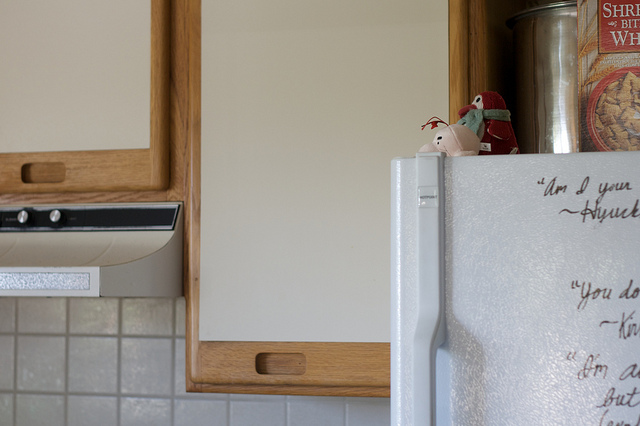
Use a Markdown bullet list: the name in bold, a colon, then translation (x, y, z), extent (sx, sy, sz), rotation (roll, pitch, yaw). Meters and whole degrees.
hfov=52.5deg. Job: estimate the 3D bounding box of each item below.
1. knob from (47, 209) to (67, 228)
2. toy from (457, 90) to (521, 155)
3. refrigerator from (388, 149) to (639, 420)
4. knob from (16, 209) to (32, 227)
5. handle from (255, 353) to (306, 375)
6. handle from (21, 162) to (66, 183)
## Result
- **knob**: translation (-0.661, 0.017, 1.644), extent (0.038, 0.049, 0.029), rotation (18, 5, 12)
- **toy**: translation (0.348, -0.185, 1.403), extent (0.144, 0.147, 0.125), rotation (5, -5, 6)
- **refrigerator**: translation (0.362, 0.134, 1.162), extent (0.517, 0.468, 0.268), rotation (0, -5, 8)
- **knob**: translation (-0.746, 0.013, 1.646), extent (0.044, 0.041, 0.040), rotation (-1, 0, -5)
- **handle**: translation (-0.095, 0.370, 1.584), extent (0.120, 0.051, 0.024), rotation (-2, -15, 6)
- **handle**: translation (-0.707, -0.102, 1.664), extent (0.119, 0.050, 0.025), rotation (-2, 2, 6)
